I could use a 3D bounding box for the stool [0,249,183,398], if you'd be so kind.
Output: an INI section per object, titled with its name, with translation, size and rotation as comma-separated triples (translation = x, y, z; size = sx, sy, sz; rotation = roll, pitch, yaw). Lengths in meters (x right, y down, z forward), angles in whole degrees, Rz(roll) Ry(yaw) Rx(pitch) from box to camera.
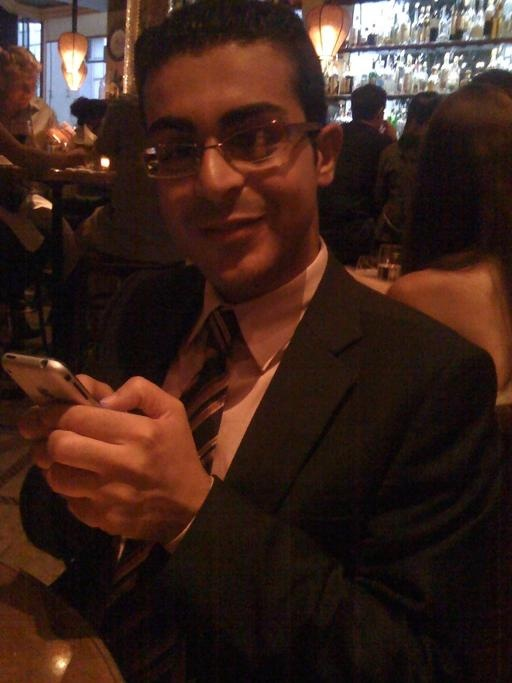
[stool]
translation = -0.259, -0.022, 1.019
size = 0.189, 0.340, 0.227
rotation = 3, 0, -5

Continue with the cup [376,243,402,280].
[cup]
translation = 0.164, -0.098, 0.718
size = 0.030, 0.062, 0.031
rotation = -1, 11, 0

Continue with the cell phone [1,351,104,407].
[cell phone]
translation = -0.219, 0.044, 0.610
size = 0.086, 0.075, 0.070
rotation = 8, 13, 5
